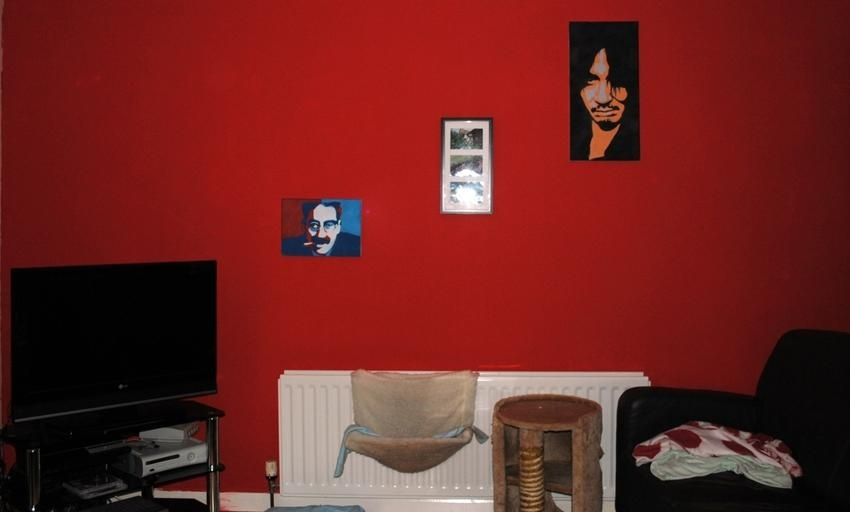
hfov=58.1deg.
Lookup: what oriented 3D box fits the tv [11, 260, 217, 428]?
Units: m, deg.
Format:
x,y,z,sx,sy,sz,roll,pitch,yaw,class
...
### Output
x,y,z,sx,sy,sz,roll,pitch,yaw,class
-2.062,0.585,4.985,1.068,0.817,0.086,0,1,-26,tv
